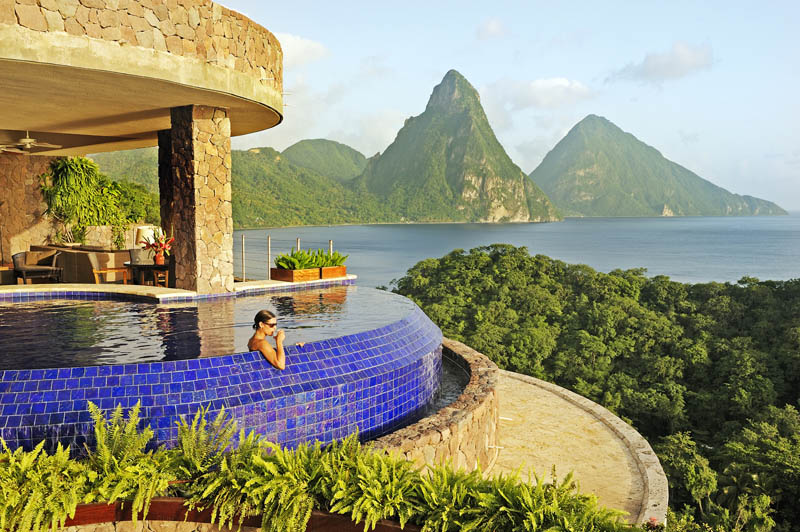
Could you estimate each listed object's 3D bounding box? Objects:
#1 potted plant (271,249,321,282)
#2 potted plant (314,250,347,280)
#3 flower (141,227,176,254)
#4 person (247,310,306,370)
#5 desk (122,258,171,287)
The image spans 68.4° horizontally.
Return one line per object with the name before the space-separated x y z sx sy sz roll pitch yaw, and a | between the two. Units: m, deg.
potted plant | -2.659 -0.008 14.651 0.885 0.656 0.860 0 2 -30
potted plant | -1.760 -0.004 15.074 0.811 0.827 0.668 0 -1 -34
flower | -6.350 -0.643 15.469 0.847 0.807 0.902 -1 8 -13
person | -2.015 1.115 8.947 0.607 0.881 0.333 3 3 -4
desk | -6.304 0.193 14.690 0.965 0.629 1.938 1 4 -26
